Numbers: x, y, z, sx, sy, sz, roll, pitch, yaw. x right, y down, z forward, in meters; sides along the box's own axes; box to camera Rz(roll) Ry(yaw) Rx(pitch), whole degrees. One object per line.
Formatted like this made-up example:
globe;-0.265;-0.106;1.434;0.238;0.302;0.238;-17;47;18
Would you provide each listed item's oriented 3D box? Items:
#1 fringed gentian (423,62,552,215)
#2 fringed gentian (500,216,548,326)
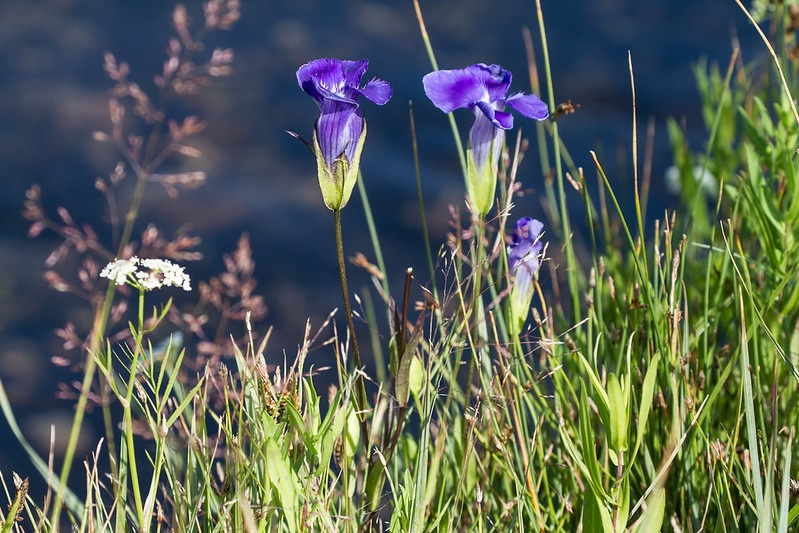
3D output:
fringed gentian;0.200;-0.296;2.515;0.269;0.337;0.150;-12;8;-8
fringed gentian;0.293;0.017;2.583;0.099;0.247;0.260;-8;9;6
